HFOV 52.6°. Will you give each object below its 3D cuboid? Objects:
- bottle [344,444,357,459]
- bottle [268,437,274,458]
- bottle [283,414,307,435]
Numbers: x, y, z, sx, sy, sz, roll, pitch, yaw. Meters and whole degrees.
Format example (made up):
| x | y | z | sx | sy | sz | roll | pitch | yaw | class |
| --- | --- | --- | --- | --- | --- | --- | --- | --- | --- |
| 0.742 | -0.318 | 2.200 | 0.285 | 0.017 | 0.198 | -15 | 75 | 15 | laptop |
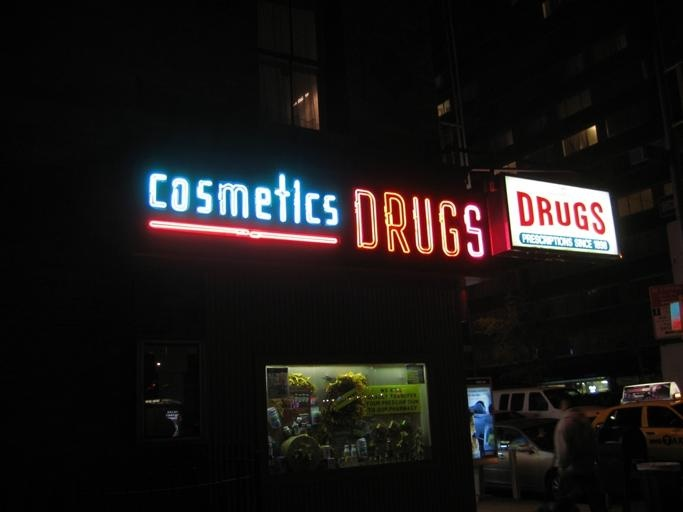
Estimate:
| x | y | z | sx | sy | sz | roll | pitch | yaw | class |
| --- | --- | --- | --- | --- | --- | --- | --- | --- | --- |
| 0.154 | 3.356 | 12.025 | 0.278 | 0.290 | 0.198 | 4 | -9 | -19 | bottle |
| -1.138 | 3.122 | 11.305 | 0.038 | 0.372 | 0.147 | -11 | -17 | 34 | bottle |
| -0.751 | 2.860 | 11.668 | 0.479 | 0.337 | 0.073 | 11 | -18 | -40 | bottle |
